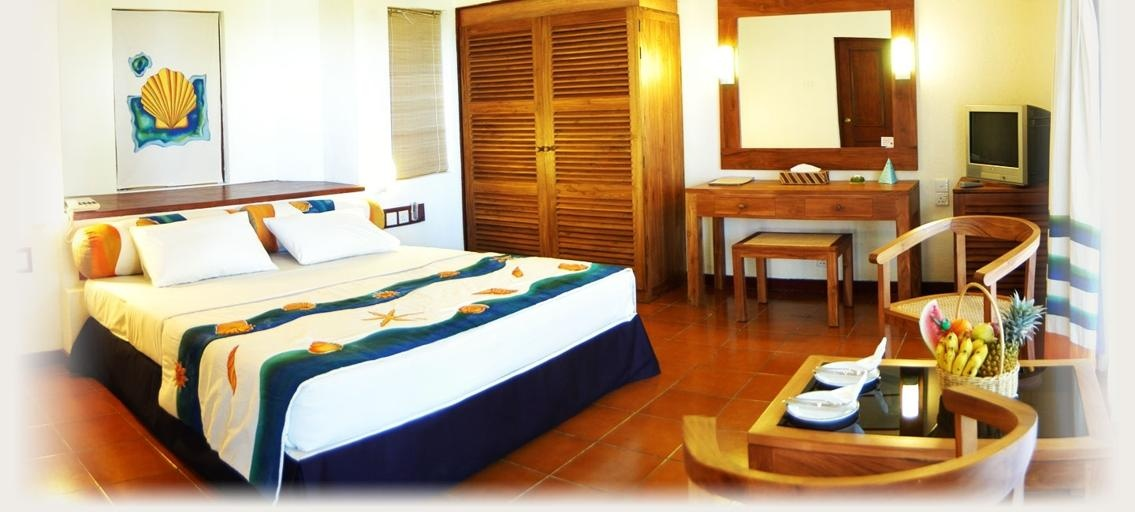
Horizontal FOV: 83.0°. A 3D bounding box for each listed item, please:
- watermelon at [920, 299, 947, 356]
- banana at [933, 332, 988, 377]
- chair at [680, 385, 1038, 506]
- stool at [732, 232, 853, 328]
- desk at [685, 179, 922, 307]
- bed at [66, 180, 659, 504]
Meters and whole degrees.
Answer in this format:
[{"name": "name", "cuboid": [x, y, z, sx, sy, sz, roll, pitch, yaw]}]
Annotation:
[{"name": "watermelon", "cuboid": [2.261, 0.442, 3.993, 0.249, 0.325, 0.118, 3, -2, -7]}, {"name": "banana", "cuboid": [2.299, 0.572, 3.763, 0.187, 0.141, 0.214, -20, 16, -37]}, {"name": "chair", "cuboid": [1.340, 0.875, 2.891, 1.604, 0.370, 0.396, -4, 13, -3]}, {"name": "stool", "cuboid": [2.440, 0.166, 6.741, 1.228, 0.713, 1.201, 2, 6, 35]}, {"name": "desk", "cuboid": [2.496, -0.141, 6.589, 1.809, 0.823, 0.690, 2, 7, 25]}, {"name": "bed", "cuboid": [-2.010, 0.475, 4.936, 2.810, 0.871, 2.468, 9, 15, 40]}]
